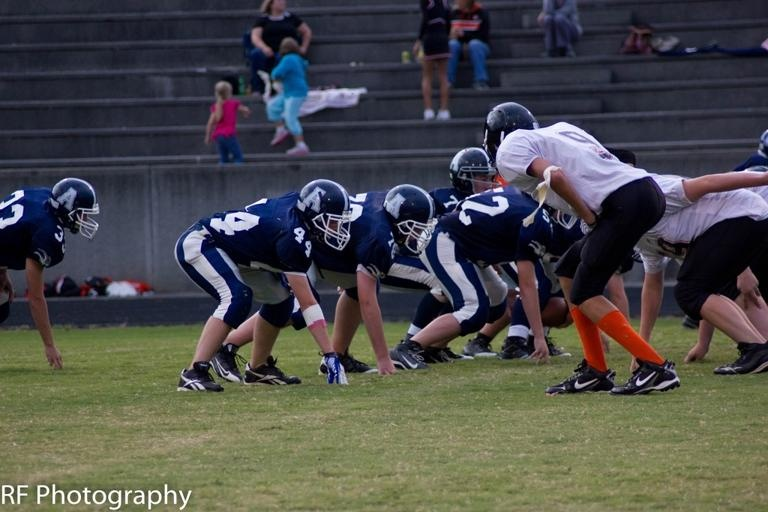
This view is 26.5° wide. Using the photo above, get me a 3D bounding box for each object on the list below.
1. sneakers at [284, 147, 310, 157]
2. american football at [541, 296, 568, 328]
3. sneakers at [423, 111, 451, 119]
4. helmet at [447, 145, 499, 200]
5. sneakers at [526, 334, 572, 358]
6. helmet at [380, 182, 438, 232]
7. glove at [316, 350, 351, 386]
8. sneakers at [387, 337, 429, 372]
[{"bbox_3d":[-1.300,-1.522,23.901,0.448,0.163,0.141,2,7,17],"label":"sneakers"},{"bbox_3d":[2.006,0.667,19.071,0.294,0.361,0.205,0,5,8],"label":"american football"},{"bbox_3d":[0.779,-2.105,24.439,0.455,0.131,0.180,-1,-28,-6],"label":"sneakers"},{"bbox_3d":[1.000,-0.989,19.076,0.628,0.450,0.504,2,12,15],"label":"helmet"},{"bbox_3d":[1.863,1.067,19.149,0.647,0.245,0.199,2,5,-9],"label":"sneakers"},{"bbox_3d":[0.323,-0.527,18.021,0.636,0.443,0.456,0,21,10],"label":"helmet"},{"bbox_3d":[-0.553,1.207,18.045,0.318,0.356,0.740,-1,5,-2],"label":"glove"},{"bbox_3d":[0.269,1.144,18.443,0.602,0.276,0.197,33,-6,6],"label":"sneakers"}]
